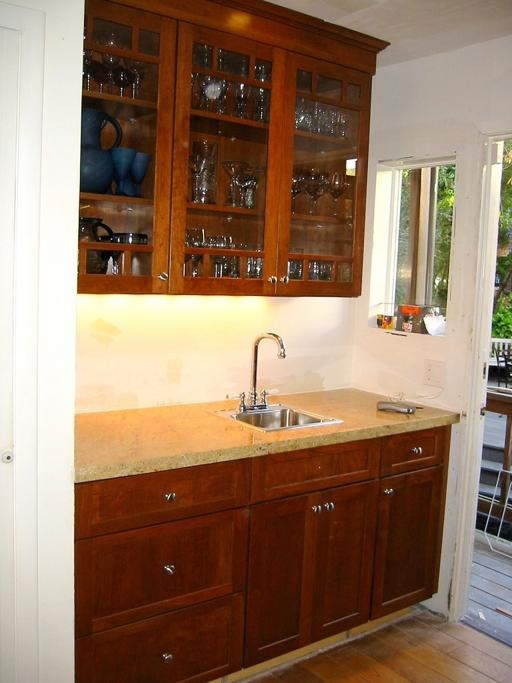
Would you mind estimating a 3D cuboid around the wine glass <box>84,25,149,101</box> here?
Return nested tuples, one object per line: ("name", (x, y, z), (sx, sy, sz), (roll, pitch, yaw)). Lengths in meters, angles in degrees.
("wine glass", (-0.435, -0.853, 1.737), (0.225, 0.206, 0.122), (-8, 21, -45))

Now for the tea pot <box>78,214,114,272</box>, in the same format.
("tea pot", (-0.493, -0.308, 1.747), (0.106, 0.148, 0.058), (2, 4, -43))

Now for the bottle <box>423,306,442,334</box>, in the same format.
("bottle", (0.812, -0.093, 2.617), (0.094, 0.125, 0.055), (6, 6, 17))

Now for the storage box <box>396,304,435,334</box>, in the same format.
("storage box", (0.752, -0.118, 2.711), (0.132, 0.126, 0.130), (8, 12, 35))

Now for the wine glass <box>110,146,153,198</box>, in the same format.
("wine glass", (-0.405, -0.544, 1.830), (0.099, 0.162, 0.158), (13, 14, 32))

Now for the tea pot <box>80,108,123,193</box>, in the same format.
("tea pot", (-0.482, -0.586, 1.786), (0.083, 0.254, 0.164), (5, 6, 8))

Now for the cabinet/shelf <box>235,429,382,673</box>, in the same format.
("cabinet/shelf", (0.104, 0.701, 2.213), (0.607, 0.788, 0.460), (-2, 7, -38))

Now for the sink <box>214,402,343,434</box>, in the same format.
("sink", (0.142, 0.312, 2.267), (0.196, 0.094, 0.235), (-4, 6, -34))

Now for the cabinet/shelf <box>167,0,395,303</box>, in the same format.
("cabinet/shelf", (0.073, -0.740, 2.175), (1.112, 1.047, 0.296), (-2, 6, -38))
